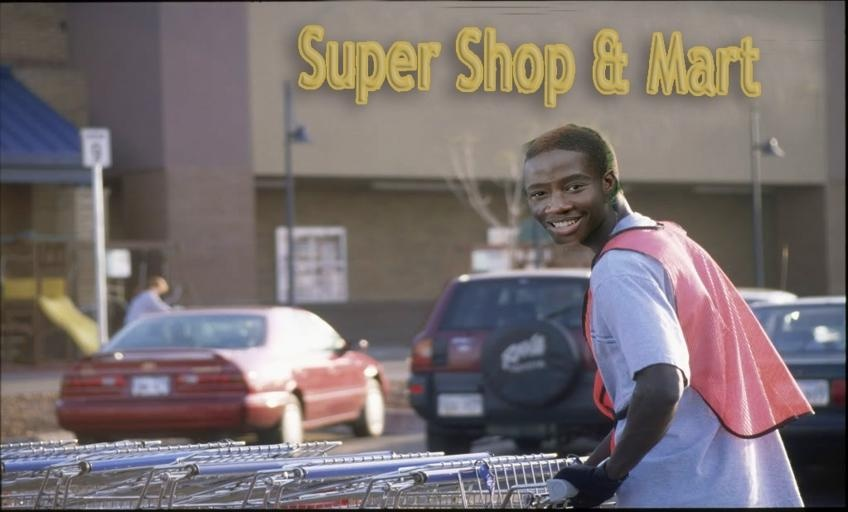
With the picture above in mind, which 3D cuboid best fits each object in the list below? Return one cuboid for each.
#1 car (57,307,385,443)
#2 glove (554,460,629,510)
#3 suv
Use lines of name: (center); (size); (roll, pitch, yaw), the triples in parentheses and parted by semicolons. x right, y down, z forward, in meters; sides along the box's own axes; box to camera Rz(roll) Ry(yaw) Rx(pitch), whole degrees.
car: (-1.617, 0.993, 16.567); (1.184, 0.694, 2.028); (-1, 0, 25)
glove: (1.032, 1.457, 13.208); (0.268, 0.161, 0.354); (-6, 8, -9)
suv: (0.611, 0.875, 16.691); (1.043, 0.872, 1.790); (-2, 0, 22)
